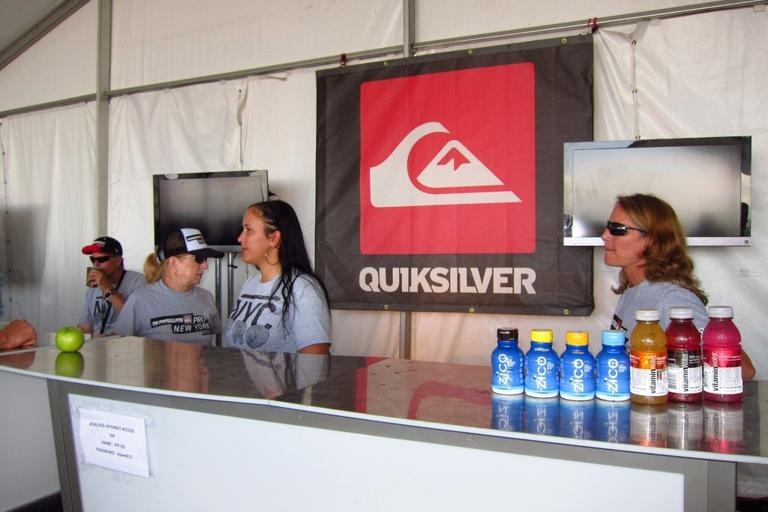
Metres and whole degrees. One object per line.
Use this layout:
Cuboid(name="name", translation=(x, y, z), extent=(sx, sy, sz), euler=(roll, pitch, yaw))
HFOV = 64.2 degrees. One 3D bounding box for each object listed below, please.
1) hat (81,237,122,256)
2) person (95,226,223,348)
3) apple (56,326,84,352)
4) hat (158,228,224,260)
Cuboid(name="hat", translation=(-2.060, -0.068, 4.452), extent=(0.151, 0.127, 0.218), euler=(-4, -20, 34))
Cuboid(name="person", translation=(-1.241, 0.240, 3.703), extent=(0.518, 0.794, 0.818), euler=(5, 1, 24))
Cuboid(name="apple", translation=(-1.494, 0.396, 2.912), extent=(0.111, 0.114, 0.125), euler=(0, 2, -25))
Cuboid(name="hat", translation=(-1.152, -0.061, 3.632), extent=(0.298, 0.152, 0.187), euler=(-5, 1, -13))
